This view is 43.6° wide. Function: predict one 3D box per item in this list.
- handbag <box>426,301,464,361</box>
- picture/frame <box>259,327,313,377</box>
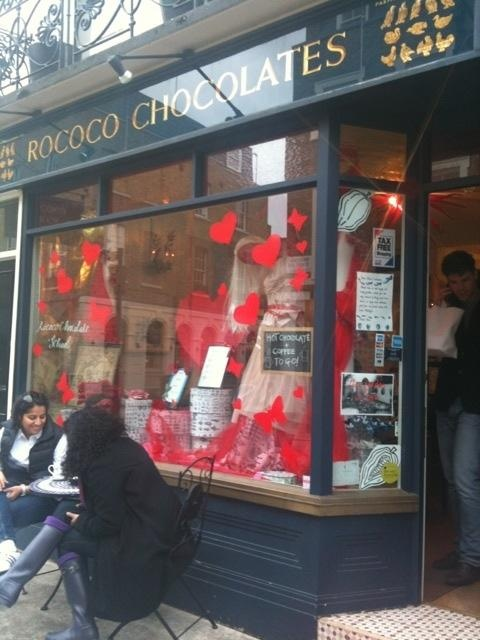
[{"bbox_3d":[1.289,0.058,3.846,0.112,0.339,0.332,21,-15,-38],"label":"handbag"},{"bbox_3d":[0.278,0.183,3.440,0.011,0.209,0.315,4,-1,-41],"label":"picture/frame"}]
